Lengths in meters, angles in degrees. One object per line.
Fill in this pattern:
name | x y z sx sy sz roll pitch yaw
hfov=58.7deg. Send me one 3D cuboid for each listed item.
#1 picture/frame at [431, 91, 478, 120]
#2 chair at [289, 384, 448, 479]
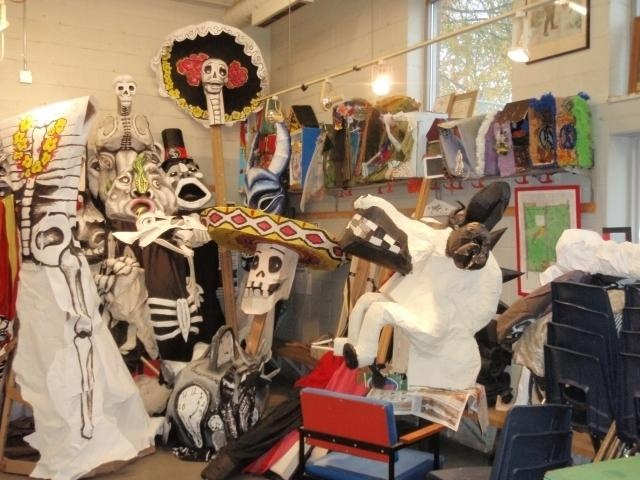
picture/frame | 1.120 -1.099 4.672 0.045 0.323 0.424 27 -7 -37
chair | 0.262 0.932 3.060 0.652 0.600 0.522 4 10 36
